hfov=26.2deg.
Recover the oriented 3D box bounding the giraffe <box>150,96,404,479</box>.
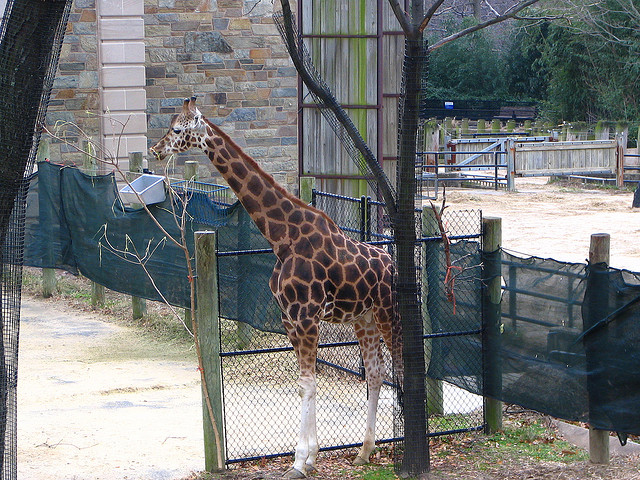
[{"bbox_3d":[-0.363,0.737,20.345,2.868,5.285,1.058,-1,5,-15],"label":"giraffe"}]
